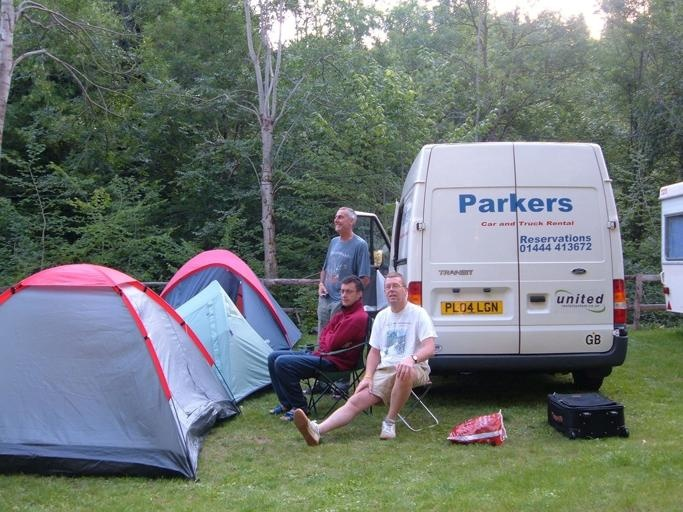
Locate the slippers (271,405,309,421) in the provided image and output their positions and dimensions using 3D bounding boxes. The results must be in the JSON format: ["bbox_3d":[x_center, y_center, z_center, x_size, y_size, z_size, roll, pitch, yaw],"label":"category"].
[{"bbox_3d":[-0.560,1.756,7.506,0.252,0.089,0.253,-4,-13,43],"label":"slippers"}]

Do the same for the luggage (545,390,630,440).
[{"bbox_3d":[2.615,1.679,7.175,0.729,0.345,0.534,-1,9,-1],"label":"luggage"}]

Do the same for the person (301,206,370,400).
[{"bbox_3d":[-0.082,0.597,8.494,0.611,2.379,0.771,7,-3,-41],"label":"person"}]

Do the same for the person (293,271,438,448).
[{"bbox_3d":[0.356,1.093,7.095,1.258,1.718,0.655,-7,11,-33],"label":"person"}]

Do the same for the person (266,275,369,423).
[{"bbox_3d":[-0.324,1.041,8.020,1.136,1.629,0.702,1,-1,-17],"label":"person"}]

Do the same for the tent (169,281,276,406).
[{"bbox_3d":[-1.520,1.079,8.747,1.207,1.471,1.067,1,-2,-20],"label":"tent"}]

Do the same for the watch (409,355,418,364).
[{"bbox_3d":[0.761,1.089,7.080,0.058,0.088,0.083,-5,-32,-31],"label":"watch"}]
